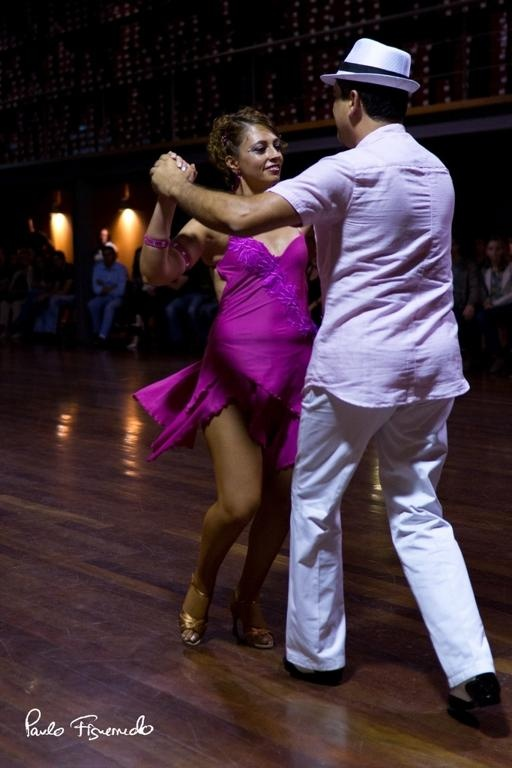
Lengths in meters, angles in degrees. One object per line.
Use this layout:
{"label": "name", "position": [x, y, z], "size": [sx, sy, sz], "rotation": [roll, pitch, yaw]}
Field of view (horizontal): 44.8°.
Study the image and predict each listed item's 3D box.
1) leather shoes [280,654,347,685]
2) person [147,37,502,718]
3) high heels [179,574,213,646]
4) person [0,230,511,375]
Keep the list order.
{"label": "leather shoes", "position": [0.127, 0.629, 1.389], "size": [0.049, 0.051, 0.141], "rotation": [-4, 8, -41]}
{"label": "person", "position": [0.158, -0.001, 1.174], "size": [0.550, 1.285, 0.398], "rotation": [-1, -2, 19]}
{"label": "high heels", "position": [-0.138, 0.568, 1.602], "size": [0.067, 0.083, 0.199], "rotation": [8, 35, -3]}
{"label": "person", "position": [-0.294, -0.580, 4.966], "size": [3.541, 0.716, 0.497], "rotation": [1, 1, 36]}
